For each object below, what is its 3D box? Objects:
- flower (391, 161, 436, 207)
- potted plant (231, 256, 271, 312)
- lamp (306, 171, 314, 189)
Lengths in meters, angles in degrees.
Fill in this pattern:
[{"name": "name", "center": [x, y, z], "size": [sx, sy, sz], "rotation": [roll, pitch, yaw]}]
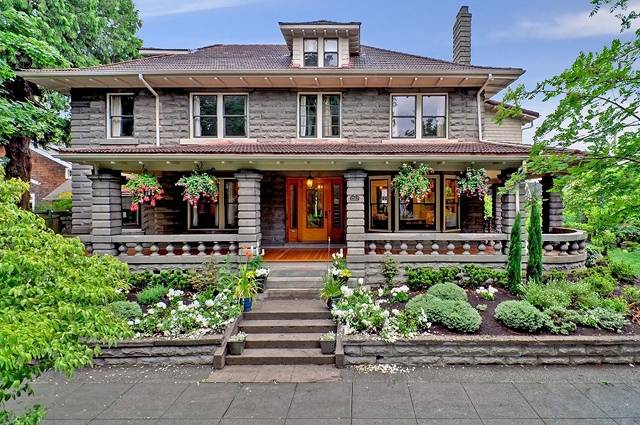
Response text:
[{"name": "flower", "center": [3.303, -0.917, 18.615], "size": [1.104, 0.792, 1.142], "rotation": [-1, -2, -32]}, {"name": "potted plant", "center": [-2.257, 2.342, 17.328], "size": [1.330, 1.311, 1.703], "rotation": [-1, -5, 17]}, {"name": "lamp", "center": [-0.354, -1.286, 21.697], "size": [0.310, 0.655, 0.166], "rotation": [-2, 0, -5]}]
